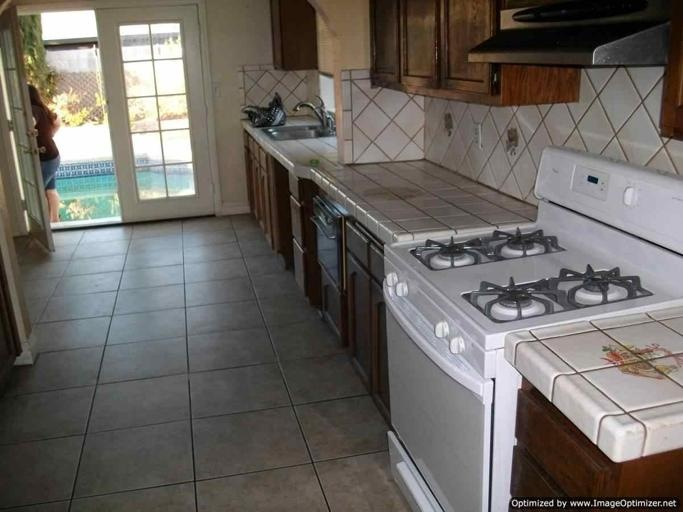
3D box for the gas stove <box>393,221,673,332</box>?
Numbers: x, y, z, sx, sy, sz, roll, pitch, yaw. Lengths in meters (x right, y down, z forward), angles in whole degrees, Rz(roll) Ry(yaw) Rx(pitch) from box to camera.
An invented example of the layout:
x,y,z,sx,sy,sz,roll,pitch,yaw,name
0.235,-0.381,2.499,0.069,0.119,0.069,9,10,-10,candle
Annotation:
x,y,z,sx,sy,sz,roll,pitch,yaw,name
0.569,0.074,1.836,0.661,0.178,0.684,-8,23,-14,gas stove
